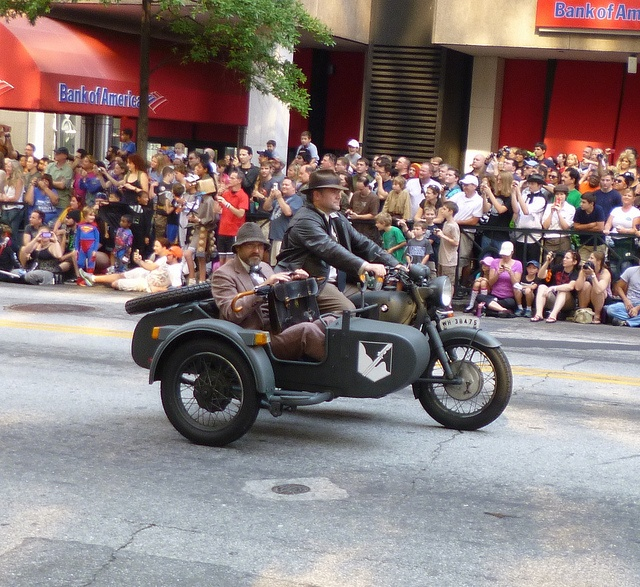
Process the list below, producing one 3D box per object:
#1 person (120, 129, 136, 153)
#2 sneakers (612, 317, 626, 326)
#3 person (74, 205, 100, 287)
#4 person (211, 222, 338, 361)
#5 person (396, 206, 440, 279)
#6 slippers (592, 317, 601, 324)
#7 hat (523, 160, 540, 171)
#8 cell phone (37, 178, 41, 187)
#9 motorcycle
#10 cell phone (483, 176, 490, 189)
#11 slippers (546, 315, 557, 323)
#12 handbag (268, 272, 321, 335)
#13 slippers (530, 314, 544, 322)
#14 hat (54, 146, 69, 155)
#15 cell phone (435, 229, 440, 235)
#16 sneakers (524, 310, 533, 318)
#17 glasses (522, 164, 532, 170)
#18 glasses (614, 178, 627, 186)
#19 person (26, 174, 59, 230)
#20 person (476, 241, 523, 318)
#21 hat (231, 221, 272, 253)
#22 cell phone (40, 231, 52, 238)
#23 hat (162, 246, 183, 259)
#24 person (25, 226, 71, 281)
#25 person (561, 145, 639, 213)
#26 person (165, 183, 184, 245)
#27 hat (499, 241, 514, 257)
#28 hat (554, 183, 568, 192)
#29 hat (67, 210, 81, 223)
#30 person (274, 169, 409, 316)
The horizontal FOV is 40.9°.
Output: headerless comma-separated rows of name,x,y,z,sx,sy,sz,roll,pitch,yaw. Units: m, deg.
person,-4.243,-3.382,19.010,0.318,0.535,0.839,0,8,-12
sneakers,4.539,0.435,13.064,0.143,0.084,0.128,12,-3,38
person,-4.196,-0.876,15.428,0.415,1.419,0.326,2,25,-11
person,-0.330,0.017,6.725,0.955,1.183,0.748,-4,6,39
person,1.535,-0.526,13.748,0.535,1.168,0.376,2,14,12
slippers,4.239,0.407,13.201,0.102,0.123,0.296,0,-1,12
hat,3.608,-2.202,14.648,0.241,0.132,0.186,-8,13,2
cell phone,-5.358,-2.111,16.348,0.048,0.142,0.109,7,10,38
motorcycle,0.036,0.466,6.636,2.302,1.055,1.607,-2,4,11
cell phone,2.705,-1.818,14.029,0.115,0.164,0.180,-11,-31,22
slippers,3.541,0.385,13.158,0.119,0.083,0.284,-1,0,16
handbag,-0.207,0.076,6.626,0.161,0.388,0.487,-2,9,41
slippers,3.343,0.371,13.195,0.296,0.100,0.111,-1,9,-23
hat,-5.108,-2.818,16.999,0.282,0.147,0.198,10,4,-14
cell phone,1.839,-0.972,13.483,0.071,0.092,0.030,-2,0,11
sneakers,3.252,0.313,13.473,0.120,0.145,0.351,-1,1,20
glasses,3.507,-2.140,14.548,0.102,0.058,0.076,4,2,3
glasses,4.978,-1.855,14.227,0.201,0.173,0.181,4,8,12
person,-5.326,-1.761,16.508,0.643,1.073,0.675,-2,0,43
person,2.801,-0.230,13.486,0.671,1.074,0.870,4,15,17
hat,-0.556,-0.451,6.838,0.237,0.139,0.258,2,-9,-6
cell phone,-4.856,-1.039,15.236,0.190,0.125,0.133,0,8,-18
hat,-2.504,-0.708,14.760,0.271,0.239,0.460,1,8,-8
person,-4.873,-0.674,15.289,0.831,0.964,0.608,0,8,-18
person,4.797,-1.884,14.709,0.873,0.910,1.606,0,-1,21
person,-2.585,-1.428,15.348,0.279,1.081,0.521,-1,9,-22
hat,2.931,-0.704,13.508,0.197,0.233,0.466,4,8,11
hat,3.864,-1.695,13.780,0.197,0.094,0.262,4,3,10
hat,-4.577,-1.449,16.034,0.282,0.223,0.210,-1,13,7
person,0.297,-0.454,7.076,1.374,1.581,0.790,-1,19,7
